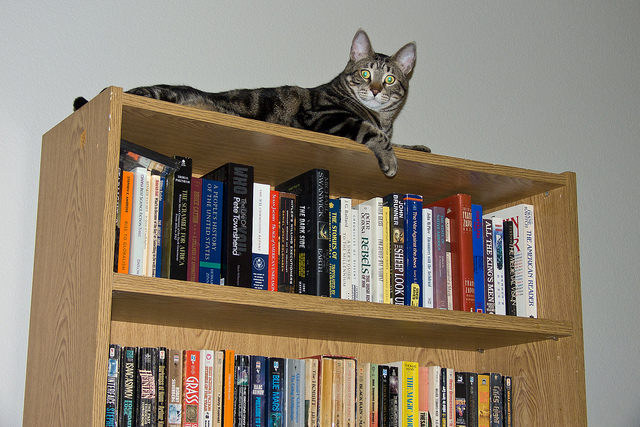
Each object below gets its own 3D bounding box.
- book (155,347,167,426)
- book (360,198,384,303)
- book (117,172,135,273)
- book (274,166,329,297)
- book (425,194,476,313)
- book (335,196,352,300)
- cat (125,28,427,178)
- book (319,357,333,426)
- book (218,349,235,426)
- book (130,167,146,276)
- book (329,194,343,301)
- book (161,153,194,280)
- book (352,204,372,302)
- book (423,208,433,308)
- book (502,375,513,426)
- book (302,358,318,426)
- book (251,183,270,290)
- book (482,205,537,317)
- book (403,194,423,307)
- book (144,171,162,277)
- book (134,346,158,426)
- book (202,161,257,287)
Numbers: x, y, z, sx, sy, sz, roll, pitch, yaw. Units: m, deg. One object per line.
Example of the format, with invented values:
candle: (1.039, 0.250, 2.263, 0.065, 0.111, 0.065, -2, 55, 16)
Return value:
book: (-0.431, 0.484, 2.963, 0.023, 0.227, 0.159, 2, -11, -15)
book: (0.152, 0.124, 3.192, 0.033, 0.327, 0.229, 2, -10, -15)
book: (-0.523, 0.025, 2.954, 0.037, 0.275, 0.033, 6, -17, -16)
book: (-0.049, 0.070, 3.118, 0.050, 0.378, 0.272, 8, -17, -33)
book: (0.390, 0.138, 3.264, 0.045, 0.370, 0.269, 2, -12, -20)
book: (0.075, 0.103, 3.169, 0.046, 0.292, 0.035, 4, -16, -9)
cat: (-0.085, -0.351, 3.365, 0.952, 0.420, 0.318, 11, -12, -17)
book: (0.018, 0.514, 3.114, 0.039, 0.192, 0.018, 4, -16, -10)
book: (-0.258, 0.495, 3.014, 0.025, 0.213, 0.156, 2, -12, -18)
book: (-0.493, 0.036, 2.963, 0.029, 0.295, 0.212, 3, -13, -17)
book: (0.047, 0.100, 3.156, 0.052, 0.289, 0.035, 5, -16, -15)
book: (-0.393, 0.025, 3.002, 0.036, 0.355, 0.266, 5, -13, -19)
book: (0.121, 0.130, 3.183, 0.040, 0.310, 0.217, 1, -10, -12)
book: (0.321, 0.133, 3.243, 0.036, 0.294, 0.032, 4, -16, -10)
book: (0.564, 0.574, 3.301, 0.033, 0.147, 0.015, 8, -17, -24)
book: (-0.029, 0.522, 3.096, 0.022, 0.221, 0.137, 3, -11, -15)
book: (-0.167, 0.066, 3.080, 0.055, 0.301, 0.026, 5, -16, -15)
book: (0.580, 0.162, 3.337, 0.038, 0.363, 0.270, 5, -12, -26)
book: (0.274, 0.108, 3.224, 0.058, 0.324, 0.038, 2, -16, -6)
book: (-0.457, 0.043, 2.983, 0.030, 0.316, 0.228, 4, -11, -16)
book: (-0.467, 0.474, 2.949, 0.067, 0.209, 0.029, 4, -16, -9)
book: (-0.251, 0.046, 3.047, 0.091, 0.294, 0.288, 4, -10, -23)
